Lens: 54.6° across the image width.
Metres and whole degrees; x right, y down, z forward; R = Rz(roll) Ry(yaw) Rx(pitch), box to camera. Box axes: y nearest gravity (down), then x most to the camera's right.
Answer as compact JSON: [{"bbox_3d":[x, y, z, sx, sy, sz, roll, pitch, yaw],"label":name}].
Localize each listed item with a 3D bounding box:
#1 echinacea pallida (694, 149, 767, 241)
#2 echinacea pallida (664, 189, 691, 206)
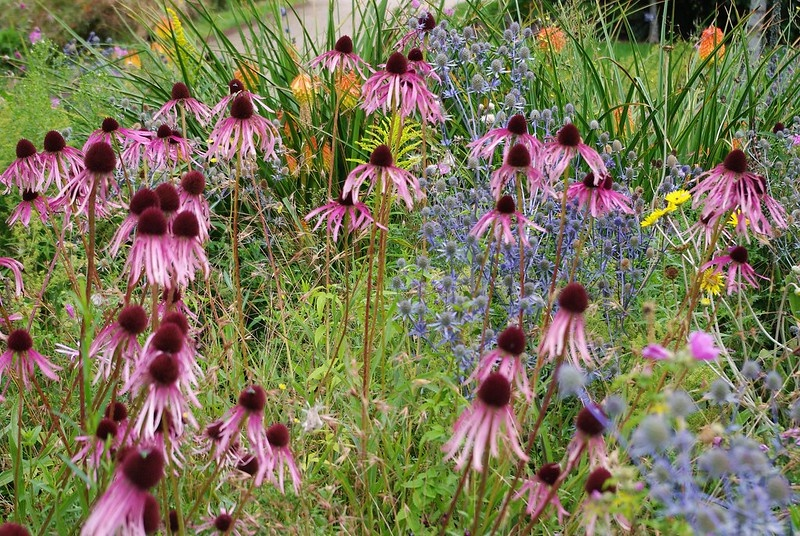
[{"bbox_3d":[1.546,-0.382,3.600,0.384,0.339,0.388,0,20,28],"label":"echinacea pallida"},{"bbox_3d":[1.429,-0.368,4.025,0.102,0.055,0.109,-5,17,38],"label":"echinacea pallida"}]
